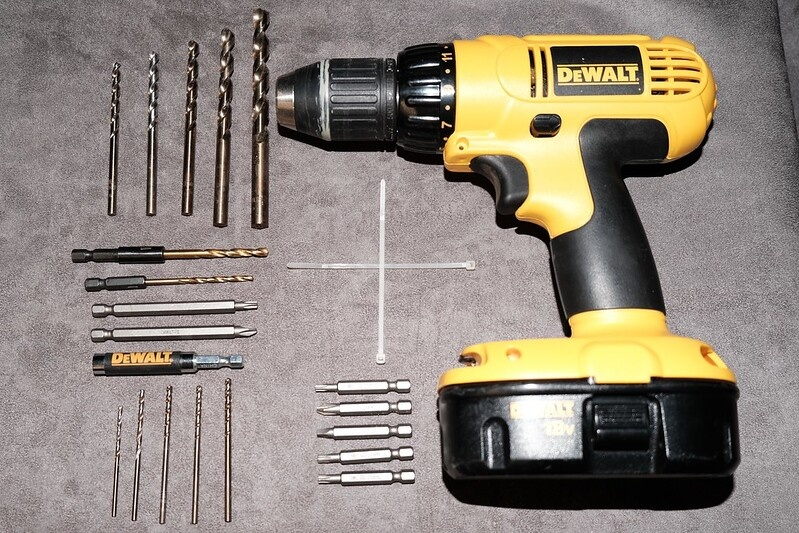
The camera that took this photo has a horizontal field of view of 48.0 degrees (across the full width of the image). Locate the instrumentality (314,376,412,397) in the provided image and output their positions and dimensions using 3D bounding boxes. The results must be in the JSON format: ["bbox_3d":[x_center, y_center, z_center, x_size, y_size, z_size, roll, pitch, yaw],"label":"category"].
[{"bbox_3d":[-0.121,0.362,2.706,0.388,0.057,0.055,0,87,-1],"label":"instrumentality"}]

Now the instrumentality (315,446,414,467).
[{"bbox_3d":[-0.112,0.568,2.675,0.262,0.042,0.043,-1,26,-2],"label":"instrumentality"}]

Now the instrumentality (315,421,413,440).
[{"bbox_3d":[-0.114,0.495,2.686,0.257,0.041,0.041,0,44,-3],"label":"instrumentality"}]

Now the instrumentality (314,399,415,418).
[{"bbox_3d":[-0.110,0.431,2.697,0.295,0.049,0.048,0,102,-2],"label":"instrumentality"}]
